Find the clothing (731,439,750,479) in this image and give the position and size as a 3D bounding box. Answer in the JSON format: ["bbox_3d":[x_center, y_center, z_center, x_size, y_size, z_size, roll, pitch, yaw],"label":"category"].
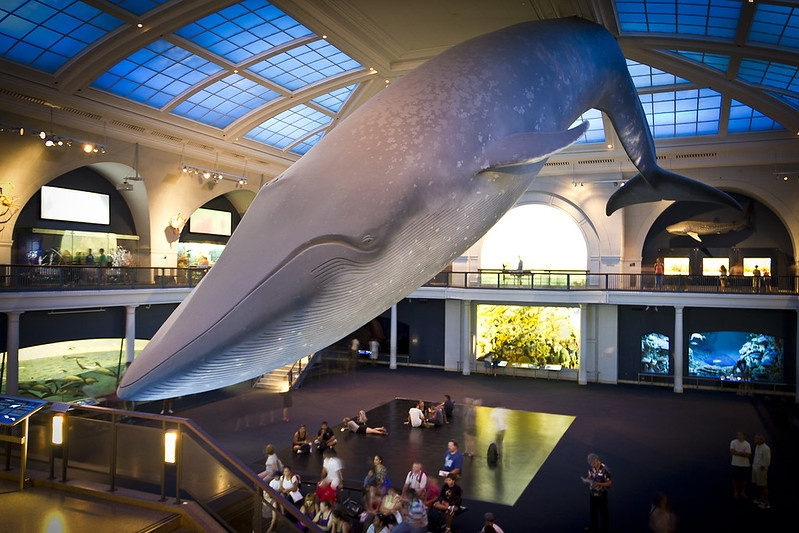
[{"bbox_3d":[9.689,5.429,14.907,0.447,1.052,0.308,1,2,21],"label":"clothing"}]

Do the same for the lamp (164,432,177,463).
[{"bbox_3d":[-3.849,3.029,8.797,0.237,0.521,0.091,1,2,15],"label":"lamp"}]

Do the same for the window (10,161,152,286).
[{"bbox_3d":[-14.279,-1.969,23.217,2.805,5.186,5.539,-1,-3,24],"label":"window"}]

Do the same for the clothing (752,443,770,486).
[{"bbox_3d":[9.900,5.411,14.395,0.339,1.081,0.523,9,-10,9],"label":"clothing"}]

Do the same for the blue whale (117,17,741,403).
[{"bbox_3d":[0.003,-0.932,6.794,6.679,5.056,1.800,0,2,-6],"label":"blue whale"}]

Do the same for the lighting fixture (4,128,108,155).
[{"bbox_3d":[-13.787,-5.037,21.100,0.928,0.595,3.698,2,3,38],"label":"lighting fixture"}]

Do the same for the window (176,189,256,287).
[{"bbox_3d":[-7.474,-1.289,20.162,0.253,3.592,5.331,14,5,13],"label":"window"}]

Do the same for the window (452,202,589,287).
[{"bbox_3d":[8.022,-1.006,31.211,7.586,5.224,0.234,3,0,-4],"label":"window"}]
